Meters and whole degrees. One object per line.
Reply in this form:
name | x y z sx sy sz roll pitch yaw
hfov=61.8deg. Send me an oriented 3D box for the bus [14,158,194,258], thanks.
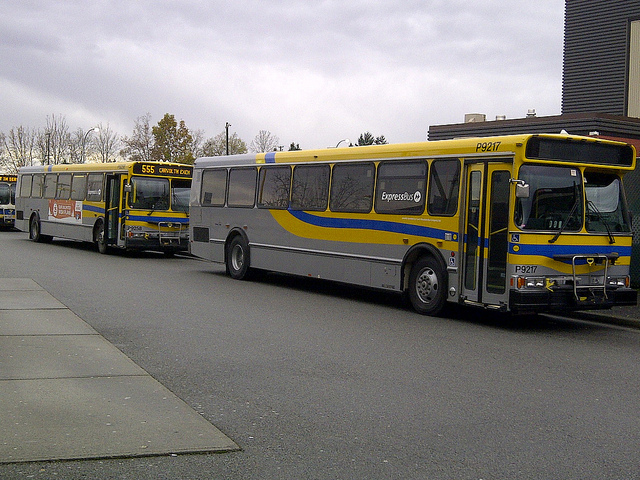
bus | -11.146 -1.759 26.271 10.880 4.097 3.586 4 3 35
